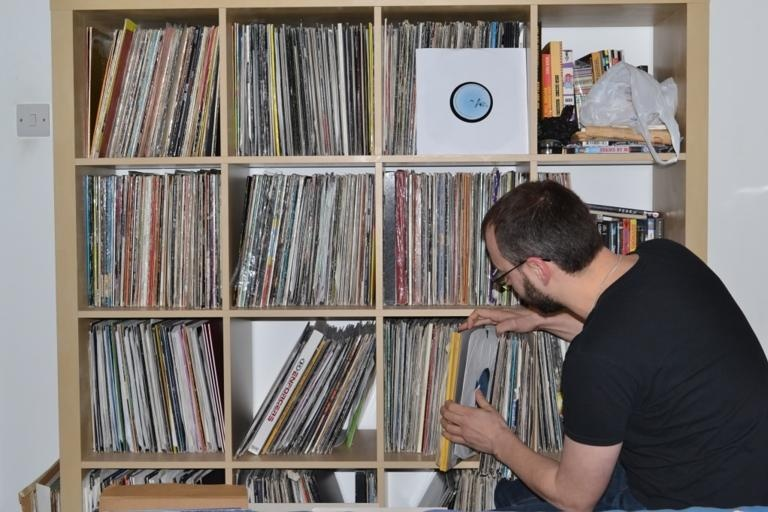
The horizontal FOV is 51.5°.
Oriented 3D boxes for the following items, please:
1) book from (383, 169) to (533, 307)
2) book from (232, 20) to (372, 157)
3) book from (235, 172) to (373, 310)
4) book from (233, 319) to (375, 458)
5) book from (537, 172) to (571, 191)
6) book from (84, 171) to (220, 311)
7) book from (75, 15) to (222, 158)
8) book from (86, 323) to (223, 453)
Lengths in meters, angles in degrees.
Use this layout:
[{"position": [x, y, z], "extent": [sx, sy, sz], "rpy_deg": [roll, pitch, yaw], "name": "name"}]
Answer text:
[{"position": [0.258, -0.066, 2.815], "extent": [0.452, 0.464, 0.186], "rpy_deg": [0, 1, -1], "name": "book"}, {"position": [-0.299, -0.608, 2.892], "extent": [0.450, 0.489, 0.116], "rpy_deg": [1, 2, 1], "name": "book"}, {"position": [-0.280, -0.052, 3.140], "extent": [0.420, 0.532, 0.472], "rpy_deg": [4, -2, 0], "name": "book"}, {"position": [-0.287, 0.481, 2.947], "extent": [0.161, 0.541, 0.393], "rpy_deg": [21, 15, 9], "name": "book"}, {"position": [0.583, -0.256, 2.746], "extent": [0.076, 0.035, 0.098], "rpy_deg": [1, -3, 2], "name": "book"}, {"position": [-0.833, -0.064, 2.893], "extent": [0.460, 0.483, 0.202], "rpy_deg": [0, 0, -2], "name": "book"}, {"position": [-0.815, -0.579, 2.884], "extent": [0.476, 0.497, 0.119], "rpy_deg": [2, -2, 8], "name": "book"}, {"position": [-0.841, 0.487, 2.739], "extent": [0.457, 0.486, 0.164], "rpy_deg": [0, 2, 1], "name": "book"}]
